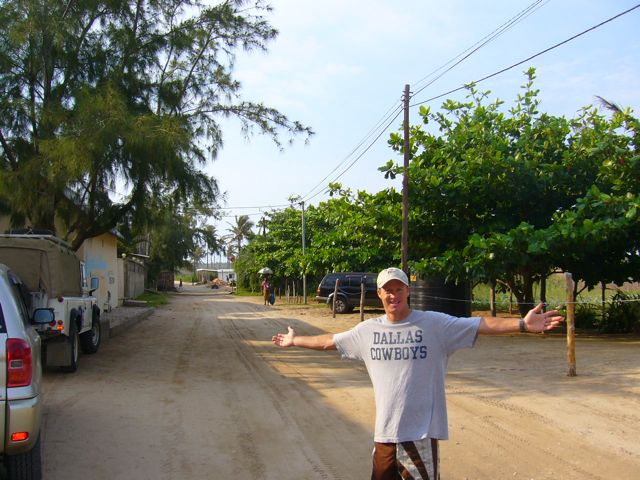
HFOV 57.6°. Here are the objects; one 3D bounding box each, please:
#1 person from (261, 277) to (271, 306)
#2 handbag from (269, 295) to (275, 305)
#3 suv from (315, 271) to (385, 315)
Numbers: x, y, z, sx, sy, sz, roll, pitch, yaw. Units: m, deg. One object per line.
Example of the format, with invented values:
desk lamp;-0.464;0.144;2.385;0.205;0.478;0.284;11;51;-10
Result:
person;-3.328;3.312;36.248;0.346;1.506;1.786;0;-1;-8
handbag;-2.976;3.736;36.150;0.362;0.710;0.416;-2;5;-33
suv;1.337;2.493;26.818;2.804;1.571;1.630;-4;-1;5
